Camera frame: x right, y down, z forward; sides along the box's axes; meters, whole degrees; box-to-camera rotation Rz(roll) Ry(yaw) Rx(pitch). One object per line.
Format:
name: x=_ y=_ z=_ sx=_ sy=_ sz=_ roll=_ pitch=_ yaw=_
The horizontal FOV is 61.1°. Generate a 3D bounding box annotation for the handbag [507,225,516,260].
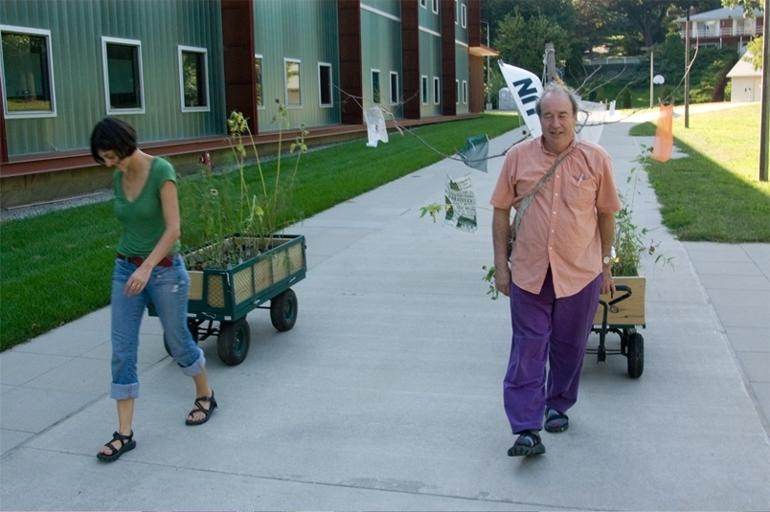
handbag: x=1.046 y=-0.115 z=5.432 sx=0.058 sy=0.218 sz=0.140 roll=4 pitch=10 yaw=11

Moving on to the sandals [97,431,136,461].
sandals: x=-2.250 y=1.606 z=5.495 sx=0.129 sy=0.208 sz=0.385 roll=1 pitch=0 yaw=22

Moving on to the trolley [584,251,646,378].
trolley: x=2.333 y=0.689 z=6.701 sx=0.608 sy=0.941 sz=1.237 roll=3 pitch=1 yaw=25

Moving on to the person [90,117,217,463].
person: x=-2.028 y=0.214 z=5.544 sx=0.912 sy=2.700 sz=0.628 roll=-9 pitch=16 yaw=-22

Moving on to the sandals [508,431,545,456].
sandals: x=1.147 y=1.519 z=5.278 sx=0.133 sy=0.239 sz=0.408 roll=-4 pitch=-13 yaw=29

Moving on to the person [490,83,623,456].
person: x=1.402 y=0.127 z=5.294 sx=0.967 sy=2.891 sz=0.739 roll=-4 pitch=15 yaw=-6

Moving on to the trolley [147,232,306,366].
trolley: x=-1.600 y=0.394 z=7.358 sx=0.819 sy=1.140 sz=1.667 roll=10 pitch=17 yaw=19
